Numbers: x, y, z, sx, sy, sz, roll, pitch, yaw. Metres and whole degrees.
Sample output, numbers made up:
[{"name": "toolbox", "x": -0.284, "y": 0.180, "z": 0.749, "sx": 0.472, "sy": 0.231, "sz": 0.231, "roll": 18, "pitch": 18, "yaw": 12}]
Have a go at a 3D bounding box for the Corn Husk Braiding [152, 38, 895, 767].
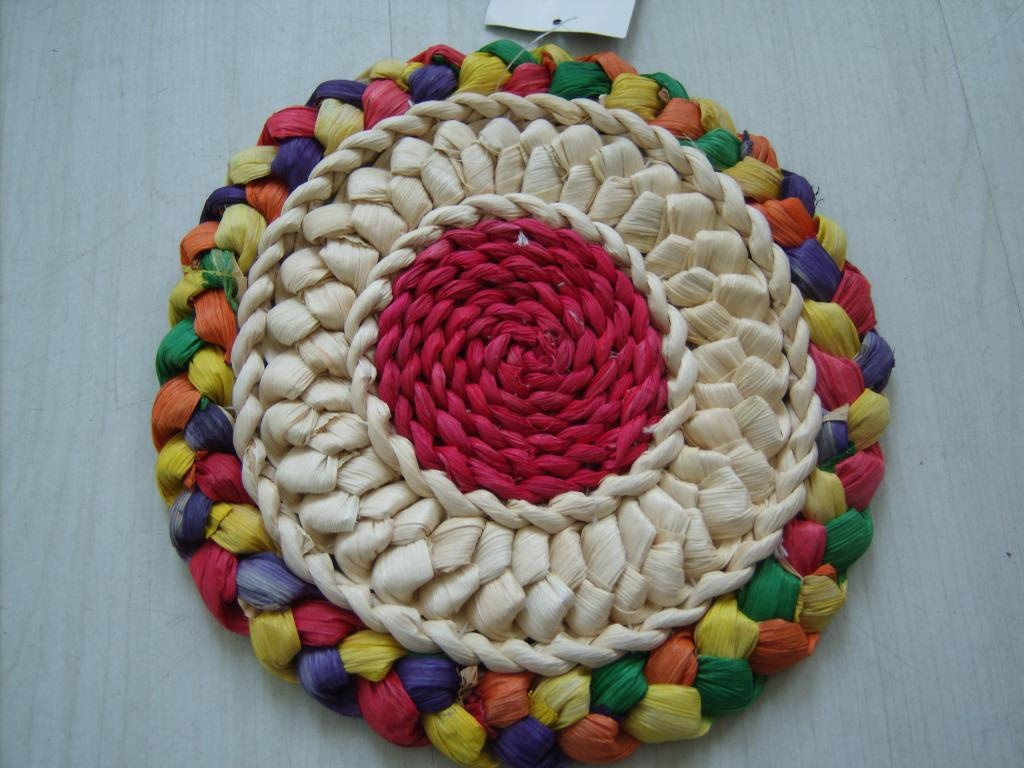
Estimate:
[{"name": "Corn Husk Braiding", "x": 0.012, "y": 0.062, "z": 2.050, "sx": 0.801, "sy": 0.233, "sz": 0.823, "roll": 0, "pitch": 82, "yaw": -3}]
